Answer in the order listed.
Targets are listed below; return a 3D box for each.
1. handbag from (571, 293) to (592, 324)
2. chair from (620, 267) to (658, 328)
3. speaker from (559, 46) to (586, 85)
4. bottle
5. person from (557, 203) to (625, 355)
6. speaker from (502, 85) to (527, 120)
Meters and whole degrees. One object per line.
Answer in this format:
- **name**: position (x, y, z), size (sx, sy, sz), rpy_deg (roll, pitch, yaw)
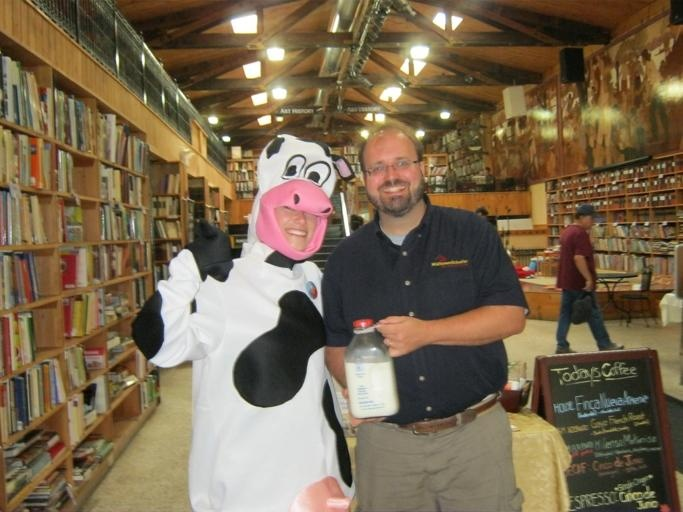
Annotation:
- **handbag**: position (2.666, 0.570, 5.865), size (0.340, 0.337, 0.188), rpy_deg (-8, 5, -31)
- **chair**: position (4.461, 0.562, 7.947), size (0.461, 0.813, 0.791), rpy_deg (-2, 2, 30)
- **speaker**: position (4.586, -3.764, 10.497), size (0.437, 0.649, 0.613), rpy_deg (-3, 2, 25)
- **bottle**: position (0.118, 0.475, 2.053), size (0.163, 0.273, 0.130), rpy_deg (-4, 2, -33)
- **person**: position (2.770, 0.257, 6.086), size (0.655, 1.732, 0.783), rpy_deg (-3, 2, 26)
- **speaker**: position (3.909, -3.508, 11.983), size (0.410, 0.736, 0.826), rpy_deg (-3, 2, 16)
